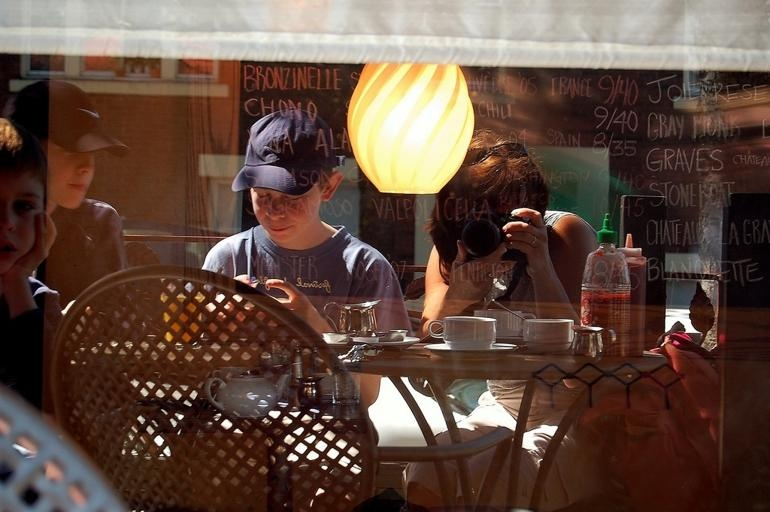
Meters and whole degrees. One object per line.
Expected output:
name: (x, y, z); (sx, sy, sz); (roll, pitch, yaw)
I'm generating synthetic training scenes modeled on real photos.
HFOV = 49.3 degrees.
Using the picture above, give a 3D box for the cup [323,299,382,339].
cup: (-0.124, 0.227, 2.956); (0.196, 0.143, 0.124); (0, 6, 7)

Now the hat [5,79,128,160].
hat: (-1.242, -0.521, 3.233); (0.295, 0.156, 0.216); (15, 7, -4)

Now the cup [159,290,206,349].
cup: (-0.527, 0.171, 2.217); (0.128, 0.134, 0.131); (2, -1, 0)

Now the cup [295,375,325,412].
cup: (-0.207, 0.378, 2.292); (0.082, 0.084, 0.089); (0, 0, 0)

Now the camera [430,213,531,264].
camera: (0.420, -0.066, 3.328); (0.260, 0.166, 0.194); (3, 4, 13)

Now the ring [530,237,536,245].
ring: (0.582, -0.057, 3.319); (0.021, 0.028, 0.010); (-9, 16, 14)

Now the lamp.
lamp: (0.094, -0.395, 3.050); (0.421, 0.474, 0.426); (1, -10, 2)

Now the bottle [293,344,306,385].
bottle: (-0.233, 0.293, 2.274); (0.031, 0.104, 0.034); (1, 2, 0)

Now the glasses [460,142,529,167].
glasses: (0.484, -0.431, 3.505); (0.145, 0.047, 0.131); (-18, 0, 35)

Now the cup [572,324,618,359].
cup: (0.677, 0.295, 2.752); (0.122, 0.120, 0.088); (-4, 7, 8)

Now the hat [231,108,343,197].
hat: (-0.429, -0.465, 3.571); (0.411, 0.282, 0.539); (7, 24, 26)

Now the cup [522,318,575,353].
cup: (0.525, 0.257, 2.746); (0.111, 0.072, 0.115); (1, -2, 0)
